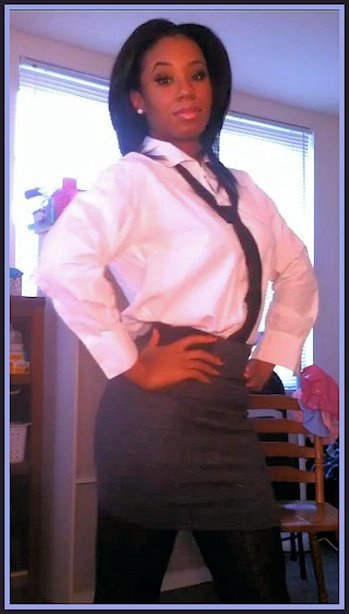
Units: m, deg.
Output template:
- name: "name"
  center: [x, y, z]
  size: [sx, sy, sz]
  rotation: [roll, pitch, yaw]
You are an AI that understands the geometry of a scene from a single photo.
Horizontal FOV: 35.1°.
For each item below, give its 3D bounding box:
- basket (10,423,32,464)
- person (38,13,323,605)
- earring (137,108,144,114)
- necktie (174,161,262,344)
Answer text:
- name: "basket"
  center: [-0.409, 0.365, 1.454]
  size: [0.047, 0.111, 0.100]
  rotation: [3, 0, -15]
- name: "person"
  center: [0.026, 0.000, 1.291]
  size: [0.627, 1.364, 0.248]
  rotation: [3, 0, 11]
- name: "earring"
  center: [-0.080, -0.462, 1.302]
  size: [0.010, 0.010, 0.004]
  rotation: [0, 10, 0]
- name: "necktie"
  center: [0.091, -0.128, 1.309]
  size: [0.164, 0.400, 0.150]
  rotation: [-5, 12, -32]
